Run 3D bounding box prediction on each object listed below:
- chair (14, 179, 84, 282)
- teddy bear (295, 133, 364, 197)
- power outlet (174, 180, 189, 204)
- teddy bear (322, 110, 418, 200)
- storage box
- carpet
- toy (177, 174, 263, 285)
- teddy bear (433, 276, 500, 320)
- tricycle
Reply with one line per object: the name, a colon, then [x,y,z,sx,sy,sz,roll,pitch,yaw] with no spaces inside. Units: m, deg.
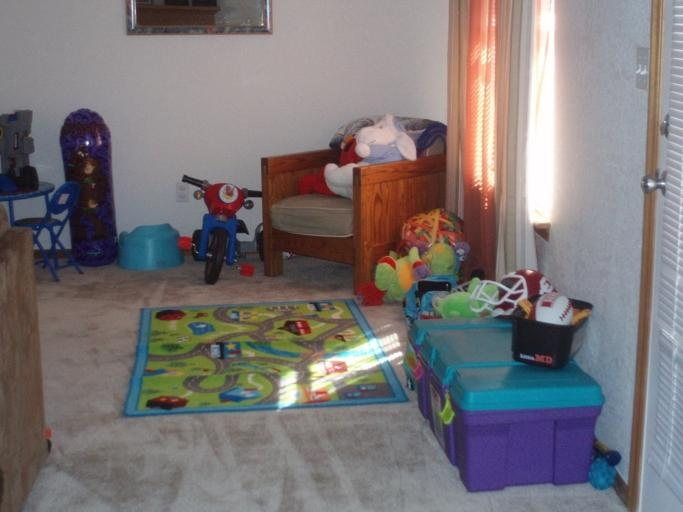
chair: [-2.164,-0.220,4.261,0.452,0.681,0.356,0,16,-6]
teddy bear: [-0.072,-0.598,4.318,0.630,0.446,0.459,-10,2,12]
power outlet: [-1.301,-0.530,4.722,0.158,0.229,0.025,2,16,-2]
teddy bear: [0.195,-0.699,4.074,0.589,0.530,0.501,-10,18,-24]
storage box: [0.561,0.481,2.138,0.559,0.405,0.819,-3,13,-9]
carpet: [-0.438,0.480,3.136,1.270,0.016,1.523,-2,13,-15]
toy: [-0.840,-0.200,4.175,0.509,0.532,0.846,16,4,-6]
teddy bear: [0.572,0.192,2.677,0.248,0.093,0.185,-16,14,-32]
tricycle: [-0.932,-0.214,4.527,0.544,0.756,1.238,9,9,-12]
